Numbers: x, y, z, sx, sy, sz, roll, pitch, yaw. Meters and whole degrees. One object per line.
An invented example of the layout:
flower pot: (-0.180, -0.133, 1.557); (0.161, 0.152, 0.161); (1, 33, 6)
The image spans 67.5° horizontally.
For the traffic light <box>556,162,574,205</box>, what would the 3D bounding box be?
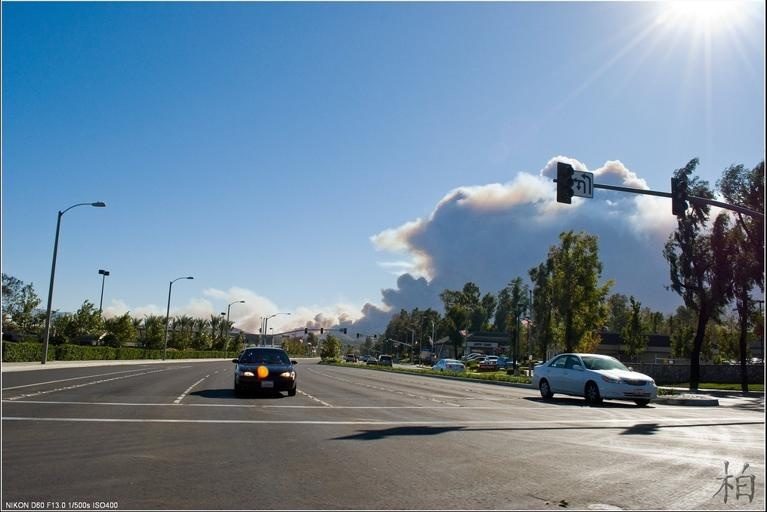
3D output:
traffic light: (6.250, -2.463, 19.926); (0.634, 1.610, 0.847); (-2, -12, 18)

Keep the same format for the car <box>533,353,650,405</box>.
car: (8.139, 4.872, 22.727); (1.690, 2.000, 4.431); (10, -15, -33)

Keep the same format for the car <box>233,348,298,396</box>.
car: (-4.453, 4.418, 21.453); (1.789, 1.270, 3.688); (2, -15, -12)

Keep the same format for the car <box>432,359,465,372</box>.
car: (6.030, 10.177, 53.220); (1.980, 1.126, 3.529); (6, -14, -15)
